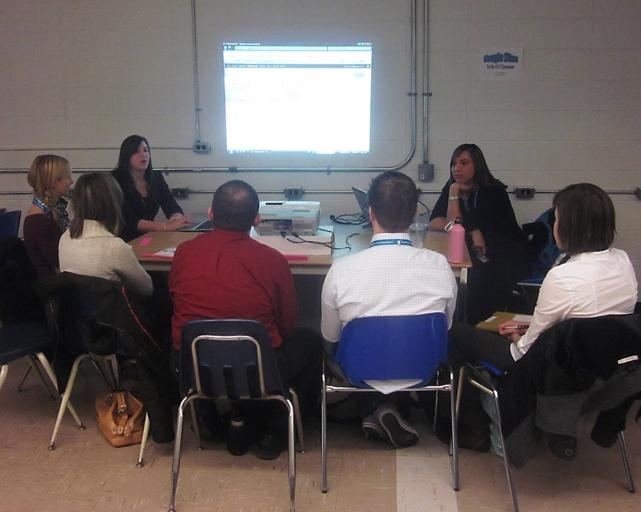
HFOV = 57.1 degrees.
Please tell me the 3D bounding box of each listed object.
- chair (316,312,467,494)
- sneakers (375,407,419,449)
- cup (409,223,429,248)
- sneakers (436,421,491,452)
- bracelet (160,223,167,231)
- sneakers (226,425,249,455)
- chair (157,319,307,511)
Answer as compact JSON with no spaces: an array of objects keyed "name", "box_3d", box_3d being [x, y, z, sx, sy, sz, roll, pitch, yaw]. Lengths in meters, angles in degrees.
[{"name":"chair","box_3d":[0.304,0.580,3.014,0.732,1.165,0.750,-1,23,0]},{"name":"sneakers","box_3d":[0.378,0.856,3.019,0.131,0.269,0.113,-37,11,6]},{"name":"cup","box_3d":[0.555,-0.126,3.335,0.098,0.140,0.127,-1,-1,13]},{"name":"sneakers","box_3d":[0.754,0.947,3.084,0.123,0.052,0.189,1,14,4]},{"name":"bracelet","box_3d":[-1.051,-0.200,3.973,0.041,0.025,0.063,1,12,-1]},{"name":"sneakers","box_3d":[-0.419,0.926,3.020,0.078,0.119,0.173,2,11,-1]},{"name":"chair","box_3d":[-0.413,0.662,2.770,0.664,1.161,0.770,1,15,-1]}]
